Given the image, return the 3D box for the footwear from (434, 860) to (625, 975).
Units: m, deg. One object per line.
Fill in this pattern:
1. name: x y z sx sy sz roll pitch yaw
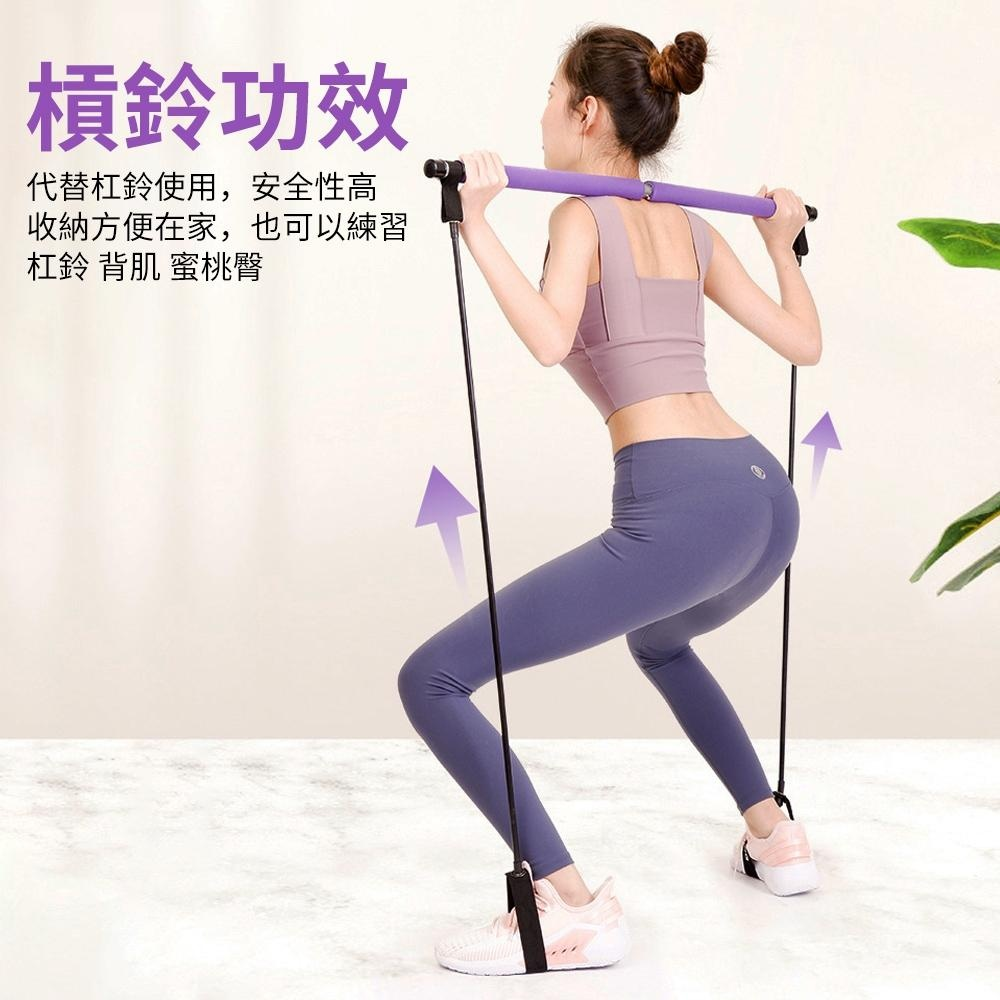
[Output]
1. footwear: 0.065 0.627 1.670 0.330 0.136 0.106 0 -15 0

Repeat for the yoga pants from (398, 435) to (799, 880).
1. yoga pants: 0.180 0.304 2.304 0.718 1.003 0.562 12 -18 -32

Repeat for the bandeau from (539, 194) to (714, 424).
1. bandeau: 0.239 -0.314 1.781 0.226 0.295 0.178 0 0 -10
